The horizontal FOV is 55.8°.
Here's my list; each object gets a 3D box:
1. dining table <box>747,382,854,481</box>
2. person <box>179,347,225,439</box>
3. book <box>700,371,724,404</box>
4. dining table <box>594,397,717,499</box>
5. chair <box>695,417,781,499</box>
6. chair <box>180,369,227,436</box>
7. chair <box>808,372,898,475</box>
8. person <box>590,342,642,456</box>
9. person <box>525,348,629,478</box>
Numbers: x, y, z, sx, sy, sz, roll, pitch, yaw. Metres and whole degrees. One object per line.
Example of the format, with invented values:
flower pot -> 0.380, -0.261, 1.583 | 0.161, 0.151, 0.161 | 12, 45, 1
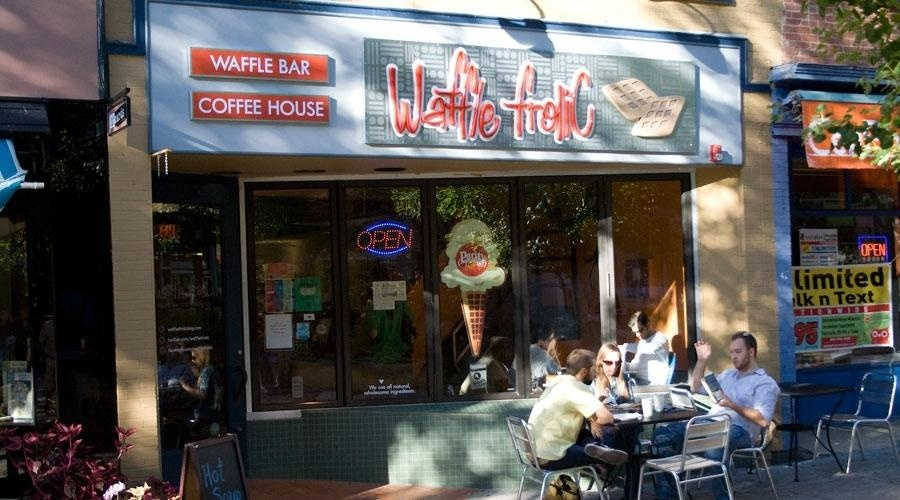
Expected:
dining table -> 5.782, 2.778, 13.640 | 1.530, 1.379, 1.470 | -1, -4, -14
person -> -3.747, 2.155, 12.876 | 0.615, 1.361, 0.172 | -2, -6, -44
book -> 3.814, 2.048, 12.449 | 0.292, 0.389, 0.090 | -16, -9, -27
dining table -> 2.971, 2.922, 12.285 | 1.428, 1.331, 1.400 | 2, -1, -12
chair -> 4.160, 2.893, 12.317 | 0.883, 1.846, 0.800 | 1, -1, -20
chair -> -3.741, 2.318, 12.906 | 0.499, 1.027, 0.488 | 0, -1, 5
chair -> 6.597, 2.875, 13.984 | 1.554, 1.439, 0.751 | 2, -1, -8
person -> 2.456, 2.086, 12.536 | 0.688, 1.754, 0.741 | 1, -1, 2
person -> 1.660, 2.260, 11.910 | 1.153, 1.061, 0.571 | -6, -4, 4
